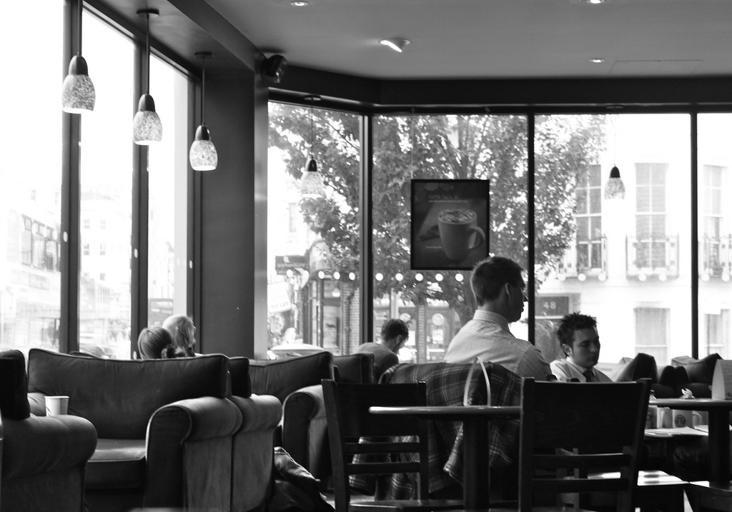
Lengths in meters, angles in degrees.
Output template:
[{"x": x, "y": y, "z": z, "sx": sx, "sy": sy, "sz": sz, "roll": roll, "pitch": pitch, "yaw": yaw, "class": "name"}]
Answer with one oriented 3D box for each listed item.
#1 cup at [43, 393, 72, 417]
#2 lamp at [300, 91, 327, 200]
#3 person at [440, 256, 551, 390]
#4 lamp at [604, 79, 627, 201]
[{"x": -1.780, "y": 0.864, "z": 4.863, "sx": 0.145, "sy": 0.174, "sz": 0.162, "roll": 1, "pitch": -13, "yaw": -1, "class": "cup"}, {"x": -0.553, "y": -1.151, "z": 8.999, "sx": 0.265, "sy": 1.071, "sz": 0.476, "roll": 1, "pitch": -5, "yaw": -4, "class": "lamp"}, {"x": 0.745, "y": 0.394, "z": 5.005, "sx": 0.437, "sy": 0.762, "sz": 0.836, "roll": 1, "pitch": -2, "yaw": -25, "class": "person"}, {"x": 2.759, "y": -1.144, "z": 9.334, "sx": 0.231, "sy": 1.046, "sz": 0.405, "roll": -1, "pitch": -5, "yaw": 17, "class": "lamp"}]
